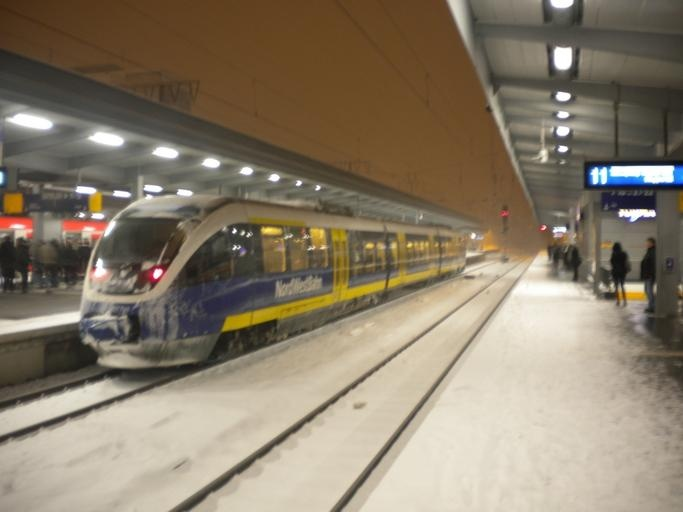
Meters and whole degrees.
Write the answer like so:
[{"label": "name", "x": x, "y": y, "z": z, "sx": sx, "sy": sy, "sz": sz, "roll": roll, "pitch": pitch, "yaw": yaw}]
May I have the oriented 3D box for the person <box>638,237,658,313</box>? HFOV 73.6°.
[{"label": "person", "x": 8.431, "y": 0.498, "z": 12.596, "sx": 0.285, "sy": 2.109, "sz": 0.990, "roll": -2, "pitch": 0, "yaw": 33}]
